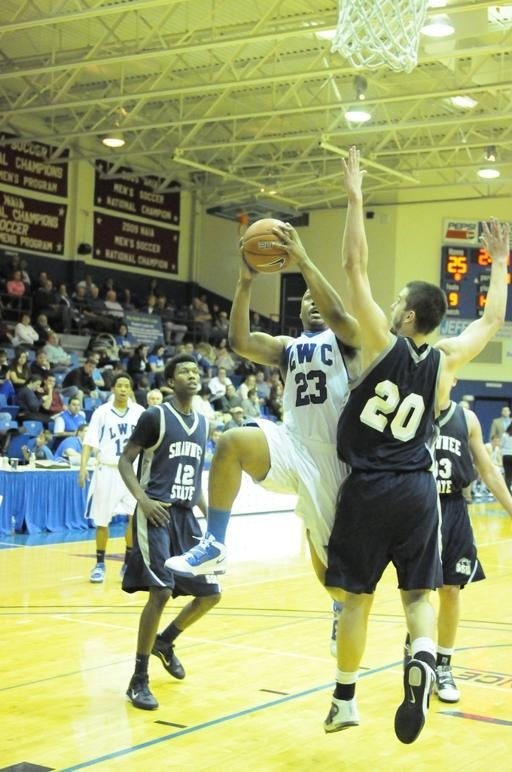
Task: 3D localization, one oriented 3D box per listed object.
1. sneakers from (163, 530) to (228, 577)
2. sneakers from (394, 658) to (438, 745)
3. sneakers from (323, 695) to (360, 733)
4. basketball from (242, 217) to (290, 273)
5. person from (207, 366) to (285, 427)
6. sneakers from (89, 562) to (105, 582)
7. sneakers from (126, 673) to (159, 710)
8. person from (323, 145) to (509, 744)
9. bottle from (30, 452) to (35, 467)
[{"bbox_3d":[-0.204,0.630,2.508,0.305,0.166,0.112,10,5,-36],"label":"sneakers"},{"bbox_3d":[0.410,0.786,1.722,0.087,0.229,0.096,5,-6,39],"label":"sneakers"},{"bbox_3d":[0.260,1.005,2.026,0.067,0.084,0.176,2,-15,-7],"label":"sneakers"},{"bbox_3d":[0.046,-0.556,2.617,0.203,0.222,0.205,8,12,27],"label":"basketball"},{"bbox_3d":[-0.366,0.232,14.909,1.213,0.677,1.555,9,-5,9],"label":"person"},{"bbox_3d":[-1.477,1.735,6.151,0.120,0.176,0.188,4,-10,-13],"label":"sneakers"},{"bbox_3d":[-0.482,1.272,2.775,0.078,0.133,0.205,5,-5,-31],"label":"sneakers"},{"bbox_3d":[0.442,0.161,2.102,0.446,1.822,0.575,-2,-11,20],"label":"person"},{"bbox_3d":[-3.049,1.022,9.012,0.084,0.178,0.377,5,-10,-19],"label":"bottle"}]
